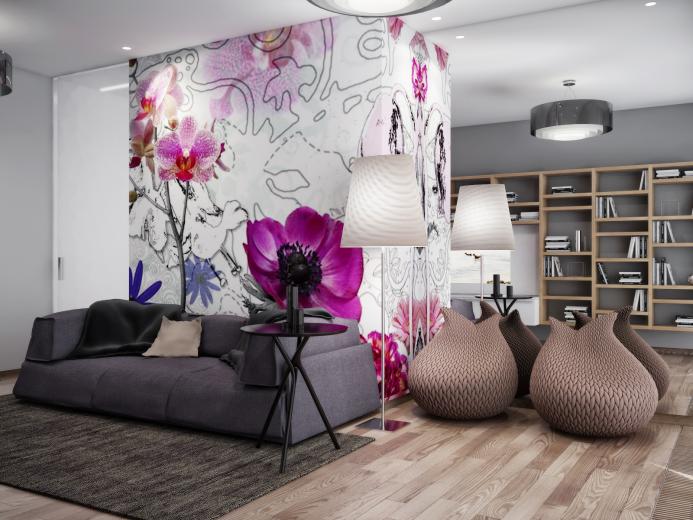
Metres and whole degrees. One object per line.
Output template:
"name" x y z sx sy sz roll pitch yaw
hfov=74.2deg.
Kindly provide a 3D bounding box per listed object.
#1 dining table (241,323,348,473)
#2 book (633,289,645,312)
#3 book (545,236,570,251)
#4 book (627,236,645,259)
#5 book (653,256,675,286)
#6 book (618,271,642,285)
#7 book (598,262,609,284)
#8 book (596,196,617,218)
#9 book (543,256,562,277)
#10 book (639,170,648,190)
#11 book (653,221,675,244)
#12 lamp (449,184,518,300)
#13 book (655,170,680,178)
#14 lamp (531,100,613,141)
"dining table" -0.335 0.881 3.006 0.628 0.817 0.683 -3 -9 15
"book" 4.572 0.677 7.171 0.066 0.315 0.292 6 0 9
"book" 3.554 -0.242 7.753 0.266 0.109 0.283 3 10 14
"book" 4.590 -0.160 7.243 0.289 0.429 0.302 1 -4 27
"book" 4.942 0.198 7.125 0.351 0.552 0.389 -1 -3 25
"book" 4.536 0.310 7.325 0.336 0.210 0.226 -2 -3 32
"book" 4.197 0.246 7.519 0.162 0.358 0.235 -1 -2 30
"book" 4.207 -0.811 7.497 0.294 0.433 0.423 -3 -1 15
"book" 3.500 0.164 7.808 0.275 0.418 0.409 -1 -3 21
"book" 4.674 -1.226 7.215 0.088 0.325 0.149 1 -2 -38
"book" 4.904 -0.395 7.145 0.296 0.432 0.413 1 2 30
"lamp" 1.434 -0.446 4.862 0.646 0.715 0.269 0 -2 13
"book" 4.921 -1.293 7.028 0.191 0.070 0.201 -2 -3 33
"lamp" 3.013 -1.907 6.139 1.095 0.436 1.135 -8 18 -9
